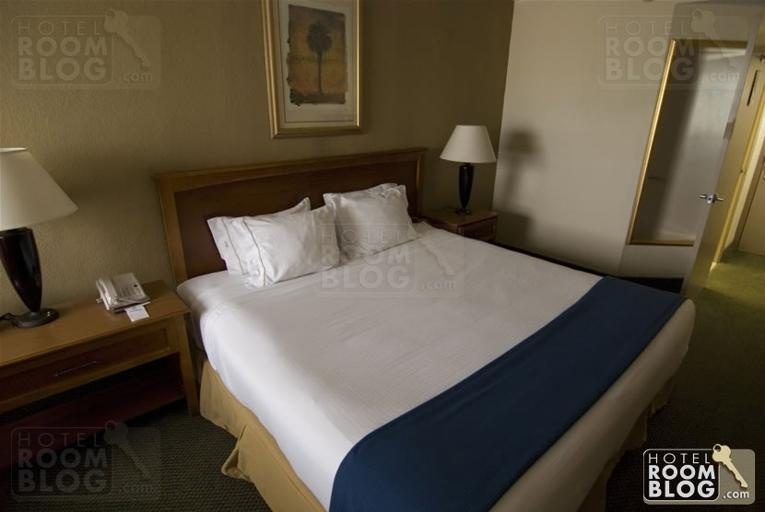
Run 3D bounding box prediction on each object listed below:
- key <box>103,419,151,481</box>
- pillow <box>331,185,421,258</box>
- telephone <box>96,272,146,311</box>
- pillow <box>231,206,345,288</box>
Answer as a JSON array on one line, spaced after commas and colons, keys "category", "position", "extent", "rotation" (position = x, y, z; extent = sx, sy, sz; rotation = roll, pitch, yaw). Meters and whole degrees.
[{"category": "key", "position": [-1.884, 1.371, 3.616], "extent": [0.012, 0.462, 0.132], "rotation": [-33, 41, -30]}, {"category": "pillow", "position": [-0.087, -0.307, 4.411], "extent": [0.811, 0.581, 0.256], "rotation": [-13, 17, -25]}, {"category": "telephone", "position": [-1.842, 0.264, 3.539], "extent": [0.287, 0.097, 0.274], "rotation": [-5, 42, -40]}, {"category": "pillow", "position": [-0.758, -0.047, 3.880], "extent": [0.557, 0.349, 0.192], "rotation": [-15, 12, -31]}]
